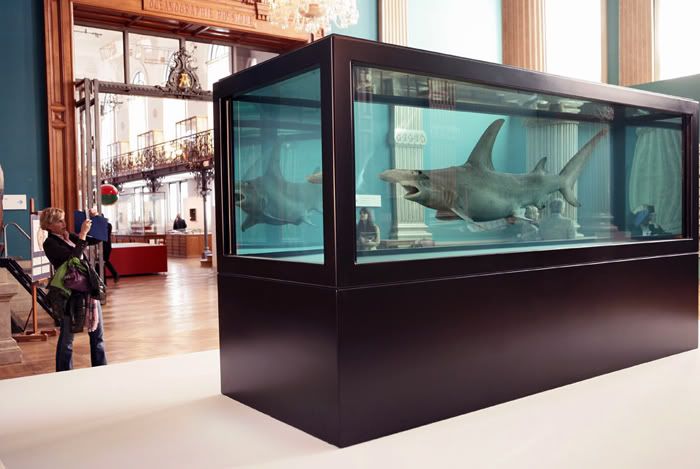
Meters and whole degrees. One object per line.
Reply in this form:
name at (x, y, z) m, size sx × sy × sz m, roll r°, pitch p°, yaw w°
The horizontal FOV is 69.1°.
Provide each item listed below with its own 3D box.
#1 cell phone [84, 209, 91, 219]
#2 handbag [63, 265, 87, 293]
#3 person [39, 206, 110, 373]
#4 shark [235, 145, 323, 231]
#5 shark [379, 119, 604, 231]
cell phone at (-2.734, -0.208, 5.296) m, size 0.018 × 0.099 × 0.181 m, roll -33°, pitch 19°, yaw -12°
handbag at (-2.443, 0.406, 4.535) m, size 0.177 × 0.221 × 0.060 m, roll -2°, pitch 5°, yaw -3°
person at (-2.538, 0.472, 4.840) m, size 0.630 × 1.537 × 0.523 m, roll 0°, pitch 0°, yaw -9°
shark at (-0.490, -0.273, 3.389) m, size 0.345 × 0.579 × 0.505 m, roll 0°, pitch 3°, yaw -36°
shark at (1.019, -0.435, 3.567) m, size 1.572 × 0.660 × 0.436 m, roll -2°, pitch 13°, yaw -9°
